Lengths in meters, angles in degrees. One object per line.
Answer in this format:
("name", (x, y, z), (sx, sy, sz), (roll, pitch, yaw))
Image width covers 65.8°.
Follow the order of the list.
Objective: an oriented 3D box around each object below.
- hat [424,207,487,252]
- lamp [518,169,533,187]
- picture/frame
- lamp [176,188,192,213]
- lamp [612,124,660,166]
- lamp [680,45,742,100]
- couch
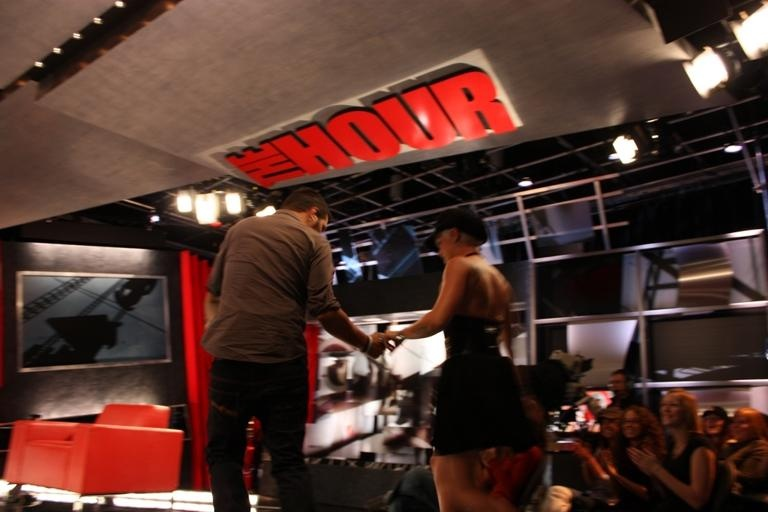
("hat", (0.529, -0.217, 4.265), (0.475, 0.169, 0.283), (0, -5, 16))
("lamp", (1.773, -0.995, 7.470), (0.242, 0.219, 0.139), (-5, -32, 12))
("picture/frame", (-4.457, 1.007, 8.870), (2.317, 1.206, 0.073), (3, -21, -34))
("lamp", (-2.828, -0.795, 8.383), (0.202, 0.327, 0.233), (-1, -17, -16))
("lamp", (2.683, -1.193, 6.240), (0.431, 0.353, 0.431), (-13, -17, 29))
("lamp", (2.730, -1.545, 4.926), (0.398, 0.355, 0.279), (-12, -18, 25))
("couch", (-3.051, 2.242, 6.648), (2.041, 1.041, 1.352), (-14, -28, 28))
